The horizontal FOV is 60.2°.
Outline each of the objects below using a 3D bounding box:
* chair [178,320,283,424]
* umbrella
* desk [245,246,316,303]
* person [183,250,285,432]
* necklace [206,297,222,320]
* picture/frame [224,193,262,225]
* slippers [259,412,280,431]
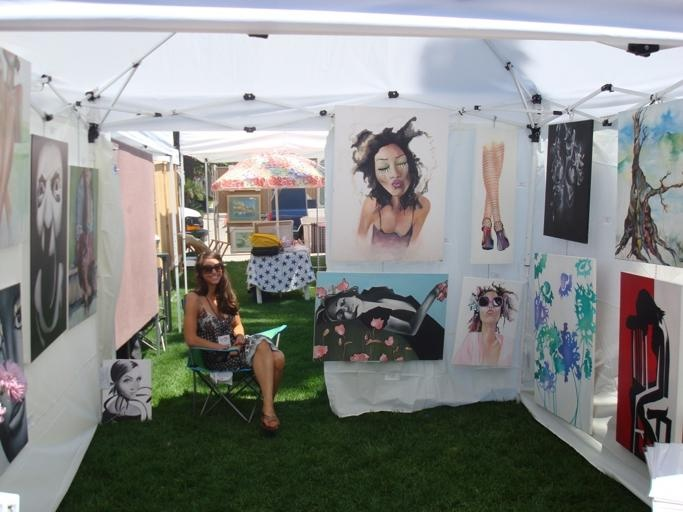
[{"bbox_3d":[-1.008,0.964,5.240,0.683,1.134,0.832,2,-6,-29],"label":"chair"},{"bbox_3d":[-1.124,-1.126,9.627,1.299,1.390,1.477,-2,6,-2],"label":"umbrella"},{"bbox_3d":[-0.910,0.276,8.747,0.639,0.590,0.792,-2,1,-11],"label":"desk"},{"bbox_3d":[-0.884,0.672,4.911,0.898,1.340,0.545,3,9,21],"label":"person"},{"bbox_3d":[-1.074,0.434,4.976,0.042,0.198,0.092,-33,-19,28],"label":"necklace"},{"bbox_3d":[-2.447,-1.179,14.836,0.818,0.860,0.042,0,-4,-16],"label":"picture/frame"},{"bbox_3d":[-0.549,1.319,4.631,0.150,0.147,0.132,-3,9,-17],"label":"slippers"}]
